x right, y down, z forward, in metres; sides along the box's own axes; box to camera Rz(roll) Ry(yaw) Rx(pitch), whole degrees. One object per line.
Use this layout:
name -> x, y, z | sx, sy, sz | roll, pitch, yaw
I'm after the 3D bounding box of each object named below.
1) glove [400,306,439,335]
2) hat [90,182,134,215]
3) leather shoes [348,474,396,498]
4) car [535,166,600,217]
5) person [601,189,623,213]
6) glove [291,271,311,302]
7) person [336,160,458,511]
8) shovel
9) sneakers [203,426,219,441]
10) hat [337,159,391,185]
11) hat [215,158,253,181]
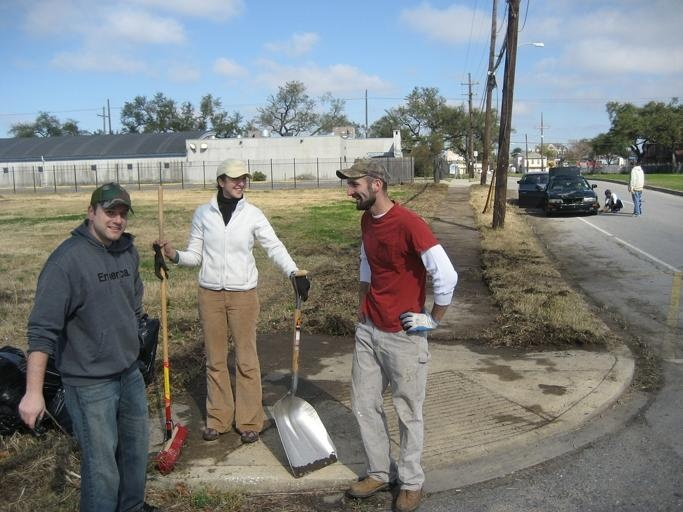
glove -> 0.625, 0.540, 5.147 | 0.260, 0.172, 0.110 | 0, -2, -6
hat -> -1.763, -0.435, 4.750 | 0.273, 0.172, 0.201 | 1, 3, 41
leather shoes -> 0.246, 1.931, 5.358 | 0.331, 0.175, 0.163 | 3, 1, -15
car -> 8.573, -2.577, 24.235 | 1.423, 1.551, 3.157 | -1, 4, 11
person -> 10.320, -2.098, 23.979 | 0.587, 0.845, 1.090 | 5, 15, 21
glove -> -0.406, 0.287, 6.047 | 0.183, 0.288, 0.101 | 4, -23, -20
person -> 0.381, 0.633, 5.183 | 0.926, 2.790, 0.653 | 11, 17, 39
shovel -> -0.331, 1.105, 5.684 | 0.563, 1.435, 0.863 | -2, 13, -9
sneakers -> -1.234, 1.688, 5.975 | 0.143, 0.096, 0.121 | -1, 14, -4
hat -> 0.187, -0.709, 5.231 | 0.337, 0.166, 0.221 | 2, 1, -15
hat -> -1.054, -0.862, 6.114 | 0.298, 0.202, 0.344 | -2, 14, -11
